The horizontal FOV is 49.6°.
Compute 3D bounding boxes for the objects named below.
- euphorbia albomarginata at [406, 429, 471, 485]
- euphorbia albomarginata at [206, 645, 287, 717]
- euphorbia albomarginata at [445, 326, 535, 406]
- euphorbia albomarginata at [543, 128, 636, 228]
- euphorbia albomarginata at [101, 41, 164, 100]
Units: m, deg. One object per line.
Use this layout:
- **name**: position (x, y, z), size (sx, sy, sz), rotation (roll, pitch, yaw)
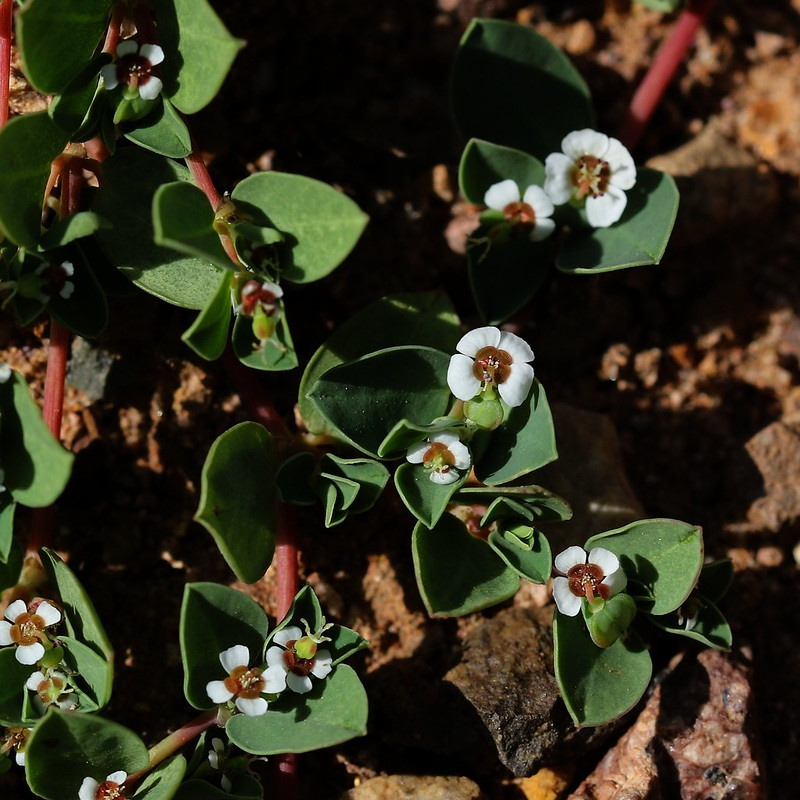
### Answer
- **euphorbia albomarginata**: position (0.089, 0.129, 1.922), size (0.130, 0.110, 0.087), rotation (31, 58, 10)
- **euphorbia albomarginata**: position (-0.342, 0.618, 1.878), size (0.154, 0.108, 0.122), rotation (30, 58, 10)
- **euphorbia albomarginata**: position (0.200, -0.070, 1.905), size (0.181, 0.121, 0.142), rotation (18, 56, 2)
- **euphorbia albomarginata**: position (0.436, -0.516, 2.052), size (0.207, 0.178, 0.172), rotation (19, 57, 2)
- **euphorbia albomarginata**: position (-0.574, -0.704, 1.845), size (0.124, 0.094, 0.091), rotation (5, 58, -7)
